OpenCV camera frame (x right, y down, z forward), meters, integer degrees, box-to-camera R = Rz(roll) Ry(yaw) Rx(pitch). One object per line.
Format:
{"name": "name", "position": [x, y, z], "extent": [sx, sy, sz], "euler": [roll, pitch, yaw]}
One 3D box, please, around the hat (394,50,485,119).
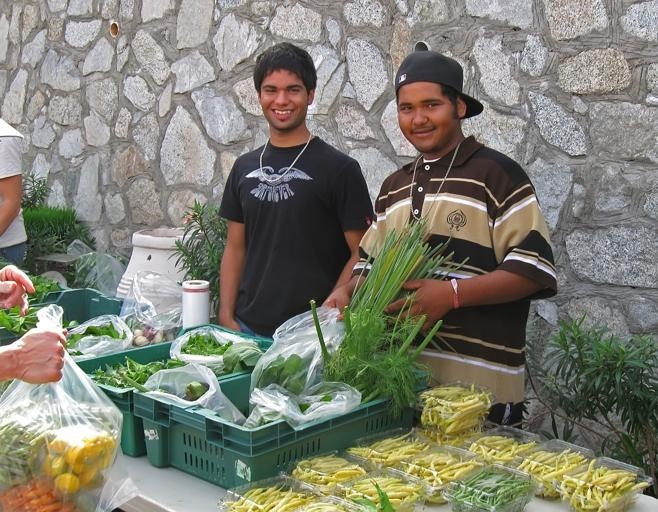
{"name": "hat", "position": [0.462, -0.703, 2.250], "extent": [0.311, 0.169, 0.233], "euler": [27, -10, -22]}

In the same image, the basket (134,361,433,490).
{"name": "basket", "position": [-0.253, 0.492, 1.789], "extent": [0.472, 0.335, 0.591], "euler": [5, 6, 44]}

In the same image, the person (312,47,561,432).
{"name": "person", "position": [0.515, -0.090, 2.218], "extent": [0.735, 1.995, 0.683], "euler": [8, 8, 44]}

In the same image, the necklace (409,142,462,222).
{"name": "necklace", "position": [0.440, -0.320, 2.301], "extent": [0.176, 0.340, 0.187], "euler": [-12, 16, -44]}

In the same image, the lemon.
{"name": "lemon", "position": [-0.672, 0.550, 1.488], "extent": [0.143, 0.130, 0.171], "euler": [0, 6, -12]}
